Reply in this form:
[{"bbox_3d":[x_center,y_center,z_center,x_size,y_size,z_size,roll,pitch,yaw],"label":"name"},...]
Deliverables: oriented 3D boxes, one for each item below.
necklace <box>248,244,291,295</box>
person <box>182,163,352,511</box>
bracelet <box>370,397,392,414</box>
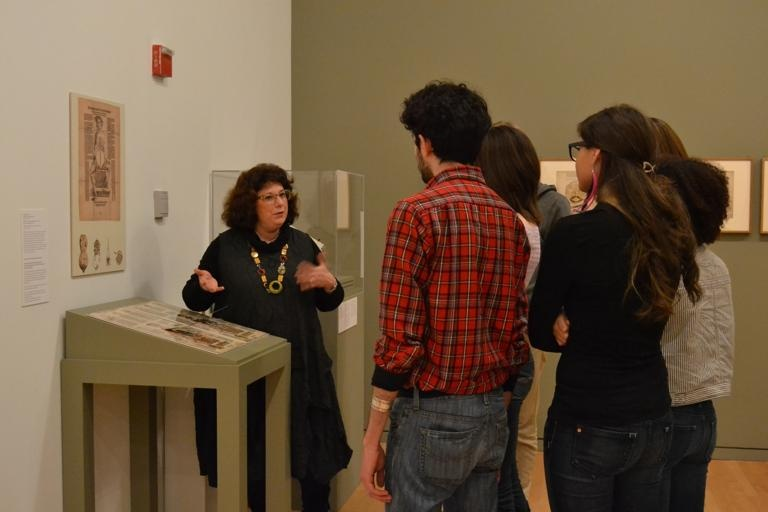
[{"bbox_3d":[-0.623,0.100,3.639,0.161,0.288,0.069,1,-15,-12],"label":"necklace"},{"bbox_3d":[-0.620,0.491,3.705,0.858,2.040,0.316,-1,1,-5],"label":"person"},{"bbox_3d":[-0.006,0.616,2.684,0.073,0.051,0.076,7,-3,15],"label":"bracelet"}]
